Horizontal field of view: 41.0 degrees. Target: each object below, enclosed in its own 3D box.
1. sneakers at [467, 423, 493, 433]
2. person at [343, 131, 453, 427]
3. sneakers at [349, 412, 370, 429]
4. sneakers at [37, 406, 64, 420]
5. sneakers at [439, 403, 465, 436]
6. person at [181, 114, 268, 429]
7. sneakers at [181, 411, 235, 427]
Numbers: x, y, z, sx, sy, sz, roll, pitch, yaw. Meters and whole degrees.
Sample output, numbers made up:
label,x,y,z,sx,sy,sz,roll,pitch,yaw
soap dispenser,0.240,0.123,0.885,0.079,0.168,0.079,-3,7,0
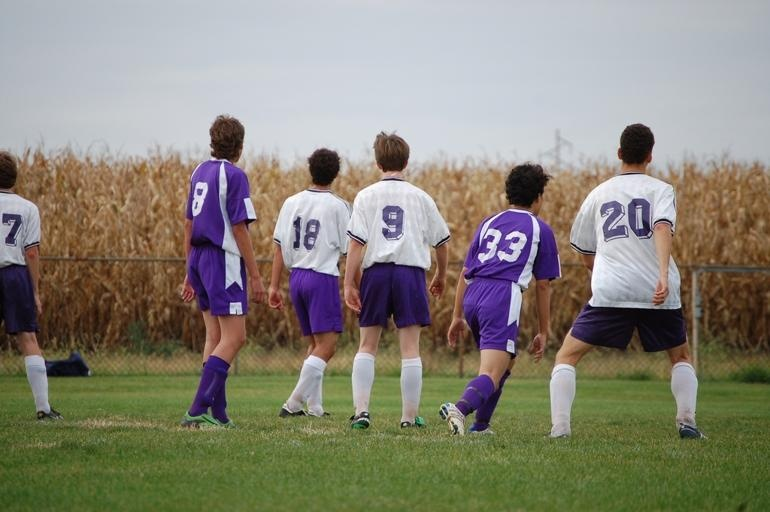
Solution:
label,x,y,z,sx,sy,sz,roll,pitch,yaw
sneakers,1.073,1.944,11.684,0.278,0.126,0.107,2,3,-28
person,0.109,0.266,12.077,1.168,3.388,0.609,1,2,-4
sneakers,-0.292,1.873,11.853,0.226,0.167,0.351,1,3,-3
sneakers,-3.917,1.833,12.026,0.312,0.146,0.124,-1,1,-16
sneakers,0.741,1.826,11.402,0.122,0.172,0.344,21,-24,51
person,-1.873,0.159,11.843,0.864,3.502,0.579,1,2,-13
sneakers,-2.006,1.860,11.638,0.582,0.223,0.215,-1,-2,-10
